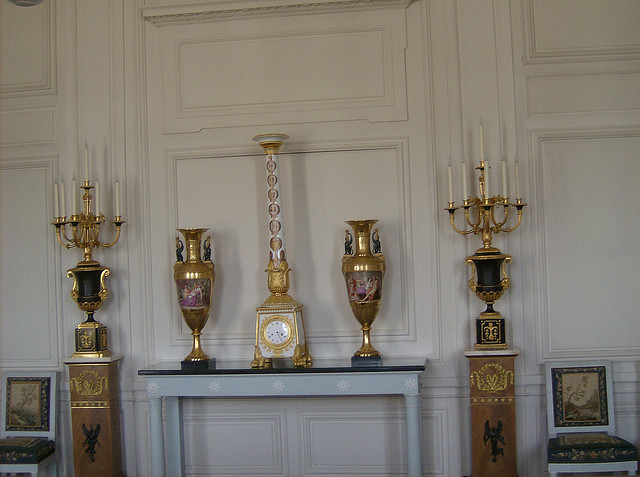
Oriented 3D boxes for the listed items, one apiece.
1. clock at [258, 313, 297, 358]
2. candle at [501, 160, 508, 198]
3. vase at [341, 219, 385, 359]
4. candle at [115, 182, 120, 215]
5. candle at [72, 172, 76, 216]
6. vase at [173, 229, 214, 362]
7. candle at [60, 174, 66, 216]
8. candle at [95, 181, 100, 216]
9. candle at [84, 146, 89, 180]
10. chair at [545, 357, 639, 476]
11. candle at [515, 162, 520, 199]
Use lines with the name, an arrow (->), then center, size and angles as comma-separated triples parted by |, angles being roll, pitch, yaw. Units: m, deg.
clock -> -0.242, 0.604, 6.168 | 0.247, 0.284, 0.157 | -3, -7, 17
candle -> 1.159, -0.379, 6.183 | 0.039, 0.265, 0.223 | -3, -5, 11
vase -> 0.277, 0.322, 6.157 | 0.257, 0.870, 0.188 | -4, -5, 19
candle -> -1.309, -0.259, 6.393 | 0.029, 0.231, 0.194 | -1, -5, -11
candle -> -1.598, -0.301, 6.438 | 0.021, 0.296, 0.202 | -1, -5, -14
vase -> -0.789, 0.367, 6.229 | 0.244, 0.839, 0.164 | -1, -5, -9
candle -> -1.673, -0.291, 6.436 | 0.032, 0.295, 0.237 | -1, -5, -14
candle -> -1.440, -0.258, 6.389 | 0.032, 0.238, 0.209 | -1, -5, -12
candle -> -1.496, -0.483, 6.335 | 0.021, 0.209, 0.216 | -1, -5, -13
chair -> 1.651, 1.108, 6.086 | 0.525, 0.711, 0.347 | -3, -5, 12
candle -> 1.246, -0.369, 6.219 | 0.025, 0.210, 0.142 | -3, -5, 12
